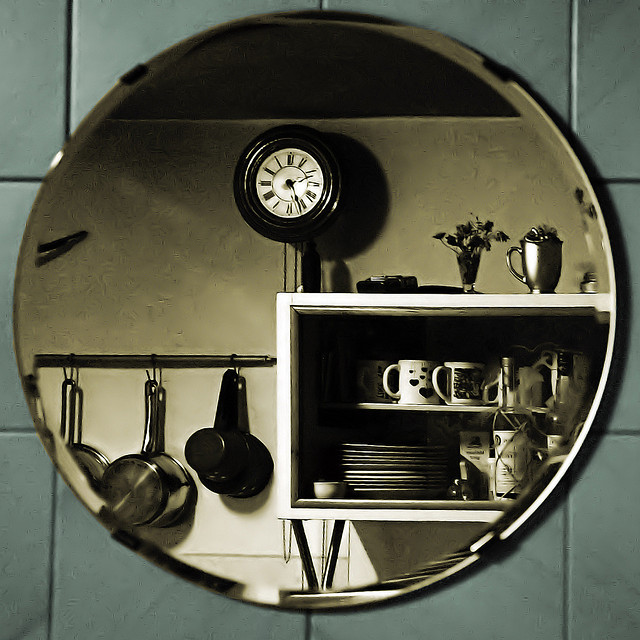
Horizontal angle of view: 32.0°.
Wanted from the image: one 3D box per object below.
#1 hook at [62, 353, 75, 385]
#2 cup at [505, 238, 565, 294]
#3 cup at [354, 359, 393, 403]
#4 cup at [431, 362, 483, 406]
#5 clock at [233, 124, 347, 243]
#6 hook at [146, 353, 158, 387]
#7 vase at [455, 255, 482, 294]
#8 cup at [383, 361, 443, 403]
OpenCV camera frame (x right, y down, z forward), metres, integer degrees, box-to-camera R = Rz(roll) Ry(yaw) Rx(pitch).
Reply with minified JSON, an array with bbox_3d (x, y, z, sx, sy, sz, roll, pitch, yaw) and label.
[{"bbox_3d":[-0.292,0.058,1.314,0.016,0.007,0.031,0,86,-6],"label":"hook"},{"bbox_3d":[0.248,-0.062,1.298,0.067,0.048,0.069,1,98,10],"label":"cup"},{"bbox_3d":[0.059,0.072,1.308,0.053,0.032,0.053,1,83,-8],"label":"cup"},{"bbox_3d":[0.156,0.073,1.295,0.061,0.037,0.046,0,87,2],"label":"cup"},{"bbox_3d":[-0.035,-0.164,1.330,0.132,0.028,0.137,-28,79,-8],"label":"clock"},{"bbox_3d":[-0.198,0.056,1.315,0.019,0.009,0.030,-4,87,-7],"label":"hook"},{"bbox_3d":[0.172,-0.051,1.293,0.036,0.038,0.057,0,76,2],"label":"vase"},{"bbox_3d":[0.105,0.075,1.317,0.065,0.041,0.053,0,83,7],"label":"cup"}]
